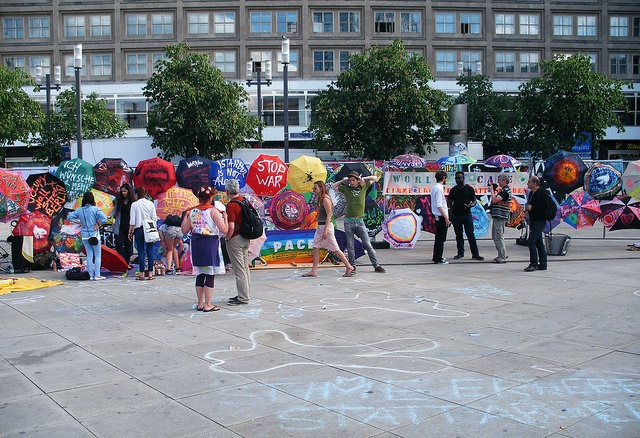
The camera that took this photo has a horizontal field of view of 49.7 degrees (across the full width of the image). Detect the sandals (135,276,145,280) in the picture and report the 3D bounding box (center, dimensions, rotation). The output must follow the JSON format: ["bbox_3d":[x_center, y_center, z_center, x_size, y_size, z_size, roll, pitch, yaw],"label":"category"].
[{"bbox_3d":[-4.537,1.458,17.425,0.167,0.066,0.088,5,4,15],"label":"sandals"}]

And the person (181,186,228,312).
[{"bbox_3d":[-2.404,0.626,14.625,0.874,2.520,1.051,-5,14,-17],"label":"person"}]

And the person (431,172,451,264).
[{"bbox_3d":[3.294,-0.096,18.951,0.489,2.440,1.167,1,14,9],"label":"person"}]

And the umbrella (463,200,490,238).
[{"bbox_3d":[4.880,-0.045,21.008,0.957,1.043,0.319,-3,-4,8],"label":"umbrella"}]

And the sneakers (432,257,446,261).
[{"bbox_3d":[3.287,1.074,18.835,0.364,0.155,0.135,0,6,0],"label":"sneakers"}]

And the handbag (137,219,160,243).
[{"bbox_3d":[-4.313,0.265,17.235,0.316,0.613,0.476,-29,-14,38],"label":"handbag"}]

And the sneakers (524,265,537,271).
[{"bbox_3d":[5.301,1.206,17.434,0.313,0.134,0.140,3,-4,-30],"label":"sneakers"}]

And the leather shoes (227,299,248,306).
[{"bbox_3d":[-1.793,1.757,14.850,0.386,0.153,0.143,5,-3,-2],"label":"leather shoes"}]

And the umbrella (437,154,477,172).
[{"bbox_3d":[4.296,-1.841,22.000,0.782,0.448,0.784,-3,18,-1],"label":"umbrella"}]

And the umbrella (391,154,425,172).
[{"bbox_3d":[2.639,-1.745,21.026,1.145,0.372,0.518,0,14,4],"label":"umbrella"}]

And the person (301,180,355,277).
[{"bbox_3d":[0.218,0.211,17.341,1.254,2.363,0.925,4,14,19],"label":"person"}]

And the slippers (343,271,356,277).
[{"bbox_3d":[0.749,1.356,17.385,0.308,0.112,0.083,4,32,-36],"label":"slippers"}]

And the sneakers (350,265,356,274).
[{"bbox_3d":[0.830,1.260,17.561,0.146,0.177,0.460,-2,-9,6],"label":"sneakers"}]

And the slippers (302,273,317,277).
[{"bbox_3d":[-0.276,1.355,17.413,0.308,0.075,0.125,3,-2,10],"label":"slippers"}]

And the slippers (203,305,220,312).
[{"bbox_3d":[-2.291,1.837,14.461,0.259,0.078,0.145,1,5,-3],"label":"slippers"}]

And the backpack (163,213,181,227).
[{"bbox_3d":[-3.754,0.014,17.634,0.343,0.138,0.350,7,24,3],"label":"backpack"}]

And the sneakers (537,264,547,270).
[{"bbox_3d":[5.619,1.182,17.482,0.091,0.165,0.233,-6,14,-10],"label":"sneakers"}]

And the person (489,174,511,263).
[{"bbox_3d":[4.863,-0.059,18.689,0.499,2.299,0.962,2,14,14],"label":"person"}]

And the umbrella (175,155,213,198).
[{"bbox_3d":[-3.425,-1.159,19.093,1.012,1.017,1.020,4,-5,4],"label":"umbrella"}]

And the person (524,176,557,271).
[{"bbox_3d":[5.574,0.073,17.553,0.706,2.274,1.225,3,14,17],"label":"person"}]

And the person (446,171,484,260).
[{"bbox_3d":[3.999,-0.114,19.261,0.686,2.420,1.181,-9,16,-30],"label":"person"}]

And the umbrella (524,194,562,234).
[{"bbox_3d":[6.000,-0.202,18.630,0.666,0.866,0.853,-35,41,-31],"label":"umbrella"}]

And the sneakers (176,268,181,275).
[{"bbox_3d":[-3.728,1.356,18.098,0.141,0.143,0.092,-8,-5,19],"label":"sneakers"}]

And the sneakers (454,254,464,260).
[{"bbox_3d":[3.890,1.038,19.380,0.279,0.118,0.114,3,-4,-32],"label":"sneakers"}]

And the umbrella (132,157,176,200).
[{"bbox_3d":[-4.460,-1.130,18.461,1.024,1.044,0.900,19,7,-10],"label":"umbrella"}]

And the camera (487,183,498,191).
[{"bbox_3d":[5.165,-0.979,20.685,0.396,0.247,0.299,-2,2,36],"label":"camera"}]

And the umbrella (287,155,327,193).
[{"bbox_3d":[-0.393,-1.226,18.471,1.043,0.941,0.630,-18,14,-5],"label":"umbrella"}]
